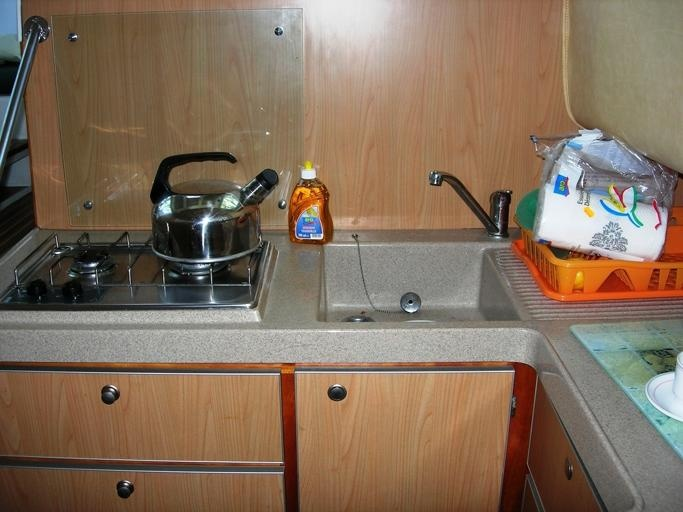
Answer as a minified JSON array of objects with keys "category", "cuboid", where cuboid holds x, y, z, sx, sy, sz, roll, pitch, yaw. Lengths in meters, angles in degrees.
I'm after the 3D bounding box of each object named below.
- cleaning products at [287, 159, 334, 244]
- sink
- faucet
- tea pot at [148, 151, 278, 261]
[{"category":"cleaning products","cuboid":[-0.100,-0.140,1.572,0.128,0.210,0.072,-3,7,3]},{"category":"sink","cuboid":[0.191,0.072,1.492,0.522,0.260,0.295,-2,7,12]},{"category":"faucet","cuboid":[0.401,-0.149,1.570,0.130,0.204,0.324,3,9,45]},{"category":"tea pot","cuboid":[-0.320,-0.142,1.385,0.321,0.242,0.241,-1,17,-15]}]
